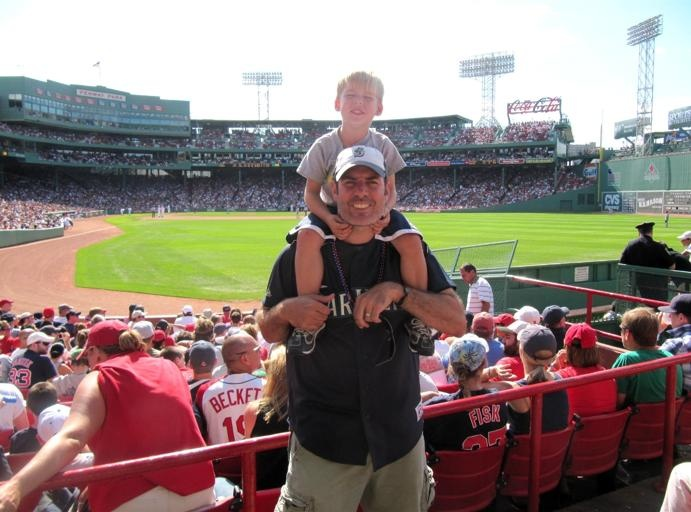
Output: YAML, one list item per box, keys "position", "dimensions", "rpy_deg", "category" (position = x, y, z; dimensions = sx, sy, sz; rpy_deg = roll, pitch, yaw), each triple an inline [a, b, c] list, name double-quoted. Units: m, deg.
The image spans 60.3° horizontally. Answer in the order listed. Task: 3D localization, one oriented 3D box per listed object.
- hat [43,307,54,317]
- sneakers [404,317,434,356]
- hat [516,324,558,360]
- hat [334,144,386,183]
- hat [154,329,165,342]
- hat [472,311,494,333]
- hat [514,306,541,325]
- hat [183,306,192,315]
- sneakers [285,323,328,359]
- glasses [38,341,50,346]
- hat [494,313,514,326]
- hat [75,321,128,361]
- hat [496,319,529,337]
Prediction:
- position: [-6.233, 1.205, 12.519]
  dimensions: [0.229, 0.167, 0.322]
  rpy_deg: [-5, 11, -10]
  category: "hat"
- position: [0.464, 0.469, 3.770]
  dimensions: [0.116, 0.311, 0.131]
  rpy_deg: [-15, 14, -39]
  category: "sneakers"
- position: [1.778, 0.828, 5.519]
  dimensions: [0.234, 0.201, 0.332]
  rpy_deg: [-3, 30, 5]
  category: "hat"
- position: [0.079, -0.562, 3.790]
  dimensions: [0.322, 0.224, 0.517]
  rpy_deg: [0, -5, 1]
  category: "hat"
- position: [-2.724, 1.179, 8.696]
  dimensions: [0.228, 0.098, 0.305]
  rpy_deg: [1, 10, -13]
  category: "hat"
- position: [1.688, 0.826, 7.341]
  dimensions: [0.184, 0.145, 0.282]
  rpy_deg: [0, 8, 15]
  category: "hat"
- position: [2.433, 0.846, 8.123]
  dimensions: [0.271, 0.197, 0.356]
  rpy_deg: [1, 13, -19]
  category: "hat"
- position: [-3.260, 1.130, 12.230]
  dimensions: [0.195, 0.133, 0.269]
  rpy_deg: [1, 4, -36]
  category: "hat"
- position: [-0.207, 0.531, 3.734]
  dimensions: [0.111, 0.140, 0.332]
  rpy_deg: [5, 12, 40]
  category: "sneakers"
- position: [-4.189, 1.227, 8.325]
  dimensions: [0.186, 0.081, 0.115]
  rpy_deg: [-1, 0, 41]
  category: "glasses"
- position: [2.054, 0.879, 7.819]
  dimensions: [0.176, 0.136, 0.259]
  rpy_deg: [-8, 8, -20]
  category: "hat"
- position: [-2.019, 0.683, 4.955]
  dimensions: [0.349, 0.176, 0.220]
  rpy_deg: [-7, 6, 2]
  category: "hat"
- position: [2.005, 0.869, 7.170]
  dimensions: [0.354, 0.137, 0.227]
  rpy_deg: [-2, -1, 19]
  category: "hat"
